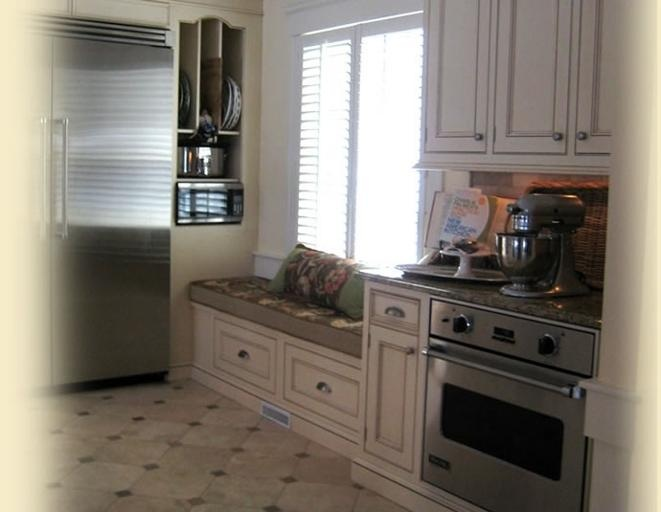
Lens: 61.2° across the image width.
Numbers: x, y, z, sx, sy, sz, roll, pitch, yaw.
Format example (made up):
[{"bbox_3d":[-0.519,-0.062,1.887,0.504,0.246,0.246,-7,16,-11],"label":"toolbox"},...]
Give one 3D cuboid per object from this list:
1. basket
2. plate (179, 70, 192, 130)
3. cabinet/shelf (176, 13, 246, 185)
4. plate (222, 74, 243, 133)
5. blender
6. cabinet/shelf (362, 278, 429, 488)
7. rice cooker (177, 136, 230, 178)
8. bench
[{"bbox_3d":[0.976,-0.107,2.431,0.252,0.411,0.372,-1,3,-35],"label":"basket"},{"bbox_3d":[-1.026,-1.108,3.928,0.076,0.396,0.113,-2,7,-33],"label":"plate"},{"bbox_3d":[-0.899,-1.113,4.073,0.435,1.147,0.375,-4,14,-36],"label":"cabinet/shelf"},{"bbox_3d":[-0.709,-1.105,4.014,0.108,0.322,0.248,0,0,8],"label":"plate"},{"bbox_3d":[0.770,-0.044,2.138,0.236,0.398,0.289,0,10,-21],"label":"blender"},{"bbox_3d":[0.141,0.505,2.381,0.268,0.673,0.469,5,5,44],"label":"cabinet/shelf"},{"bbox_3d":[-0.914,-0.706,4.005,0.310,0.276,0.214,-6,14,-43],"label":"rice cooker"},{"bbox_3d":[-0.084,0.577,3.381,0.702,0.721,1.329,-6,12,-37],"label":"bench"}]
